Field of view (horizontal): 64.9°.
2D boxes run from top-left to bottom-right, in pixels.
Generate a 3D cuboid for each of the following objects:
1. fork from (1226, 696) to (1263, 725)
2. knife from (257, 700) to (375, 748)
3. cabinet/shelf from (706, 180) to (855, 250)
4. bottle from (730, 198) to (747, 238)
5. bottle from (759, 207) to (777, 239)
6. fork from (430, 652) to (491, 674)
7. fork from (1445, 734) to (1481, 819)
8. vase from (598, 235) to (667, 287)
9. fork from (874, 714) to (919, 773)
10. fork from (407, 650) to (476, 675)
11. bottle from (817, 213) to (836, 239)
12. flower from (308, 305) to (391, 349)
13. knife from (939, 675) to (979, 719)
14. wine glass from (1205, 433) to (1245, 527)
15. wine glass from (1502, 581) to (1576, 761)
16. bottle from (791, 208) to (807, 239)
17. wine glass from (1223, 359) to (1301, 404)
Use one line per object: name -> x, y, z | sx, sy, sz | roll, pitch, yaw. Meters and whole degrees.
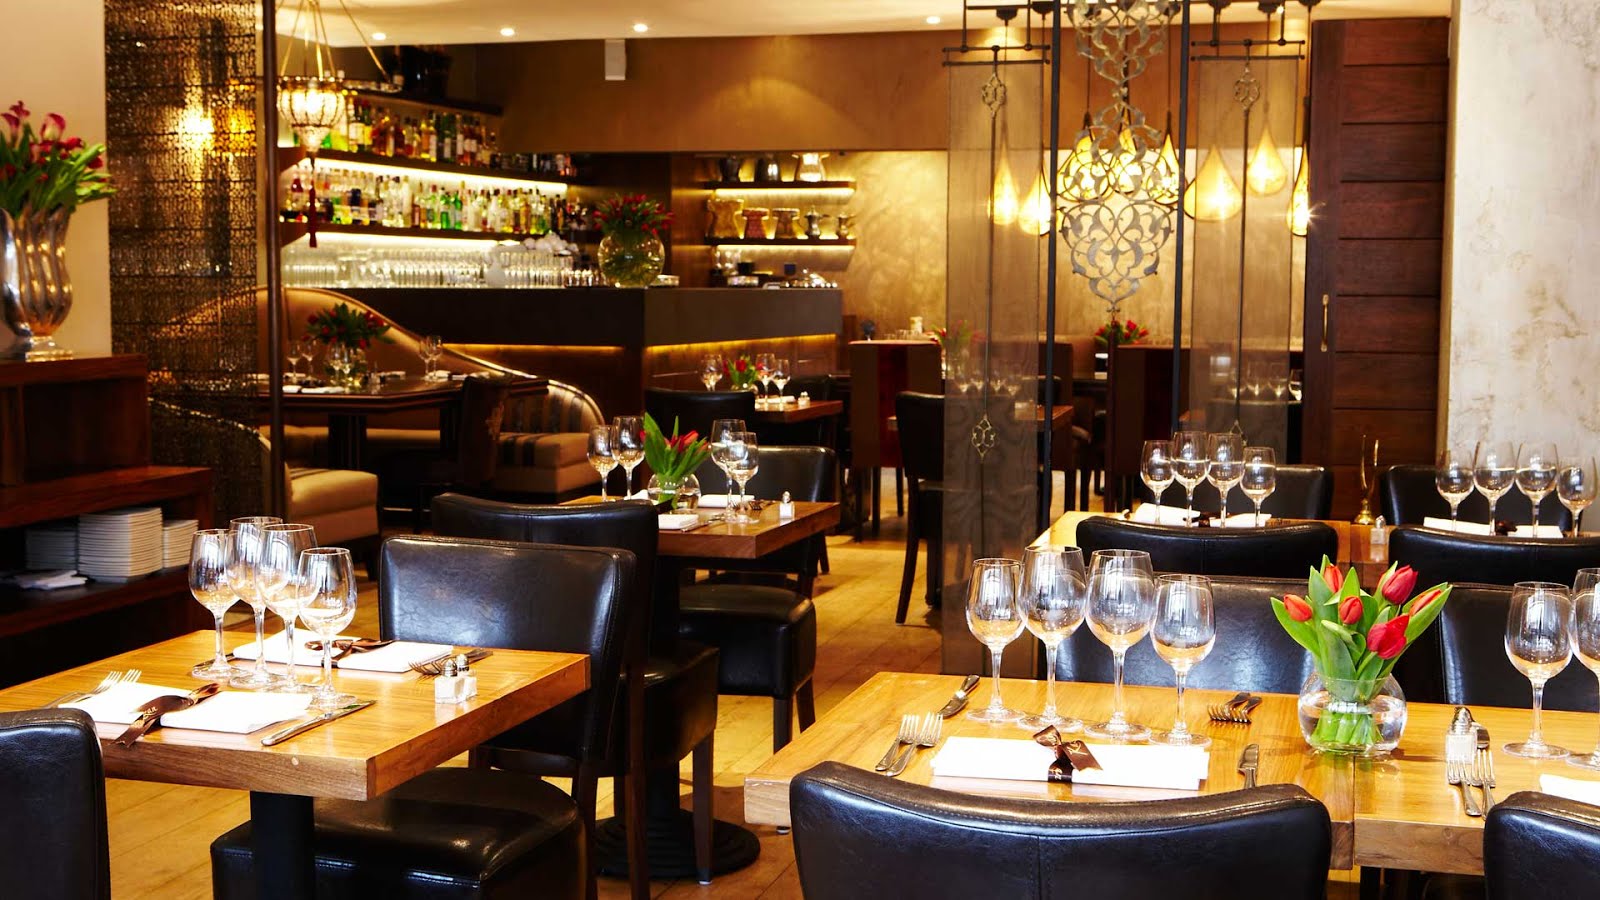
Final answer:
fork -> 1.064, 0.629, 3.045 | 0.044, 0.025, 0.167 | 4, 5, 20
knife -> -1.138, 0.611, 2.895 | 0.069, 0.014, 0.264 | 2, 9, 21
cabinet/shelf -> -0.192, -2.358, 12.692 | 1.519, 0.586, 0.443 | -1, 8, 2
bottle -> -0.621, -2.314, 12.650 | 0.145, 0.371, 0.277 | -2, 8, -3
bottle -> -0.306, -2.254, 12.626 | 0.126, 0.287, 0.187 | 0, 8, 10
fork -> -0.885, 0.545, 3.239 | 0.075, 0.018, 0.073 | 2, 7, 20
fork -> 1.402, 0.703, 2.657 | 0.055, 0.049, 0.371 | 0, 10, 23
vase -> -1.155, -1.315, 8.902 | 0.367, 0.250, 0.371 | 2, 4, 12
fork -> 0.220, 0.659, 2.845 | 0.041, 0.025, 0.210 | -1, 19, 15
fork -> -0.911, 0.541, 3.226 | 0.088, 0.021, 0.084 | 1, 8, 17
bottle -> 0.274, -2.260, 12.760 | 0.261, 0.260, 0.160 | 0, 1, -4
flower -> -2.938, -0.785, 8.225 | 0.427, 0.270, 0.418 | 7, 9, 37
knife -> 0.399, 0.608, 3.127 | 0.040, 0.032, 0.274 | -2, 13, 19
wine glass -> 1.518, 0.121, 4.492 | 0.141, 0.387, 0.135 | -13, 22, -19
wine glass -> 1.706, 0.490, 2.880 | 0.123, 0.385, 0.249 | 5, 10, 38
bottle -> -0.002, -2.290, 12.769 | 0.233, 0.265, 0.231 | -2, 7, -18
wine glass -> 2.627, -0.386, 7.179 | 0.366, 0.244, 0.197 | 0, -2, 5
